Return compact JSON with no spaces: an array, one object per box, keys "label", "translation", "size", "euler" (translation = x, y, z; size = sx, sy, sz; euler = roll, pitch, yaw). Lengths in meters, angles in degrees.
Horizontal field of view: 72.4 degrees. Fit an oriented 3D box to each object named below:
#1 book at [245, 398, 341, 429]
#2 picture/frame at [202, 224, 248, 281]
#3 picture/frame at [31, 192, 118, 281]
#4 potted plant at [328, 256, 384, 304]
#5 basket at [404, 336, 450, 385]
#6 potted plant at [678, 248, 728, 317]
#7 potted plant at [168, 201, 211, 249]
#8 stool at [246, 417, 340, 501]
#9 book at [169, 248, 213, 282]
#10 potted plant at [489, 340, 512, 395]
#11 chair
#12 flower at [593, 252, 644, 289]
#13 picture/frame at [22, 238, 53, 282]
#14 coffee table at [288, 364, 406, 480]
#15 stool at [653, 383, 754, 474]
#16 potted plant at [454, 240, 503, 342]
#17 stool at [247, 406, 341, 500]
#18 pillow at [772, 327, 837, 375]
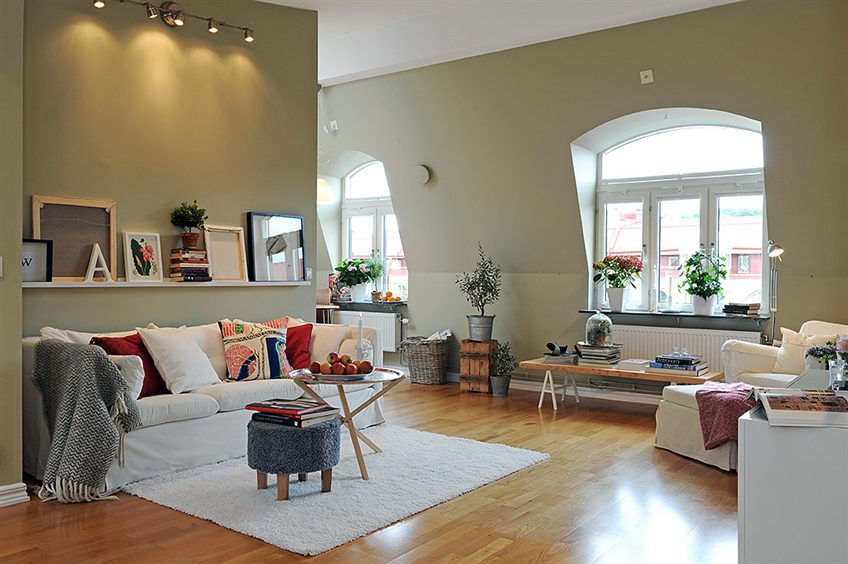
[{"label":"book","translation":[-1.024,1.014,4.450],"size":[0.352,0.087,0.345],"euler":[2,0,30]},{"label":"picture/frame","translation":[-2.103,-0.300,6.007],"size":[0.073,0.739,0.531],"euler":[-6,1,42]},{"label":"picture/frame","translation":[-3.133,-0.393,5.174],"size":[0.635,0.703,0.101],"euler":[-2,5,-38]},{"label":"potted plant","translation":[-1.092,-0.020,9.553],"size":[0.706,0.652,0.712],"euler":[3,-6,-25]},{"label":"basket","translation":[0.091,1.167,8.516],"size":[0.632,0.527,0.608],"euler":[-4,-5,34]},{"label":"potted plant","translation":[3.416,-0.039,7.079],"size":[0.554,0.844,0.363],"euler":[3,4,28]},{"label":"potted plant","translation":[-2.355,-0.540,5.979],"size":[0.408,0.558,0.484],"euler":[-3,-2,10]},{"label":"stool","translation":[-0.963,1.258,4.260],"size":[0.580,0.458,0.588],"euler":[1,-4,-17]},{"label":"book","translation":[-2.324,-0.162,5.806],"size":[0.307,0.372,0.376],"euler":[0,2,41]},{"label":"potted plant","translation":[1.069,1.158,7.830],"size":[0.319,0.636,0.598],"euler":[1,4,10]},{"label":"chair","translation":[3.719,0.756,5.993],"size":[0.970,0.976,0.958],"euler":[7,-7,-36]},{"label":"flower","translation":[2.501,-0.143,7.456],"size":[0.484,0.358,0.483],"euler":[1,1,-27]},{"label":"picture/frame","translation":[-3.306,-0.184,4.923],"size":[0.210,0.369,0.094],"euler":[-2,5,-35]},{"label":"coffee table","translation":[-0.599,1.107,4.904],"size":[0.878,0.748,0.873],"euler":[-1,0,8]},{"label":"stool","translation":[2.476,1.295,5.280],"size":[0.563,0.508,0.568],"euler":[1,-1,44]},{"label":"potted plant","translation":[0.717,0.131,8.123],"size":[0.668,1.322,0.654],"euler":[2,4,22]},{"label":"stool","translation":[-1.045,1.212,4.462],"size":[0.637,0.558,0.635],"euler":[2,-4,-40]},{"label":"pillow","translation":[3.796,0.635,5.787],"size":[0.633,0.656,0.198],"euler":[1,-26,42]}]
